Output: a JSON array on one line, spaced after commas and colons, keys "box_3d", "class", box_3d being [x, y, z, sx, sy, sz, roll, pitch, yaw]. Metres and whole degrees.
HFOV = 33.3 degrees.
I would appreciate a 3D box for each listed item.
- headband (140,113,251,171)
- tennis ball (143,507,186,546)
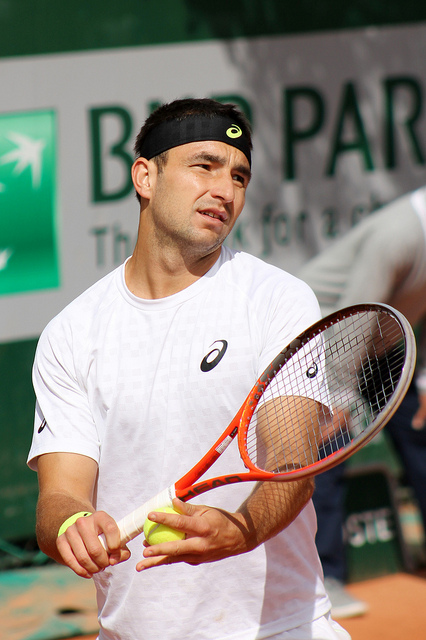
[{"box_3d": [-0.065, -0.530, 2.077, 0.342, 0.138, 0.192, -2, 21, 10], "class": "headband"}, {"box_3d": [-0.103, 0.427, 1.530, 0.084, 0.080, 0.082, 22, -13, 5], "class": "tennis ball"}]
